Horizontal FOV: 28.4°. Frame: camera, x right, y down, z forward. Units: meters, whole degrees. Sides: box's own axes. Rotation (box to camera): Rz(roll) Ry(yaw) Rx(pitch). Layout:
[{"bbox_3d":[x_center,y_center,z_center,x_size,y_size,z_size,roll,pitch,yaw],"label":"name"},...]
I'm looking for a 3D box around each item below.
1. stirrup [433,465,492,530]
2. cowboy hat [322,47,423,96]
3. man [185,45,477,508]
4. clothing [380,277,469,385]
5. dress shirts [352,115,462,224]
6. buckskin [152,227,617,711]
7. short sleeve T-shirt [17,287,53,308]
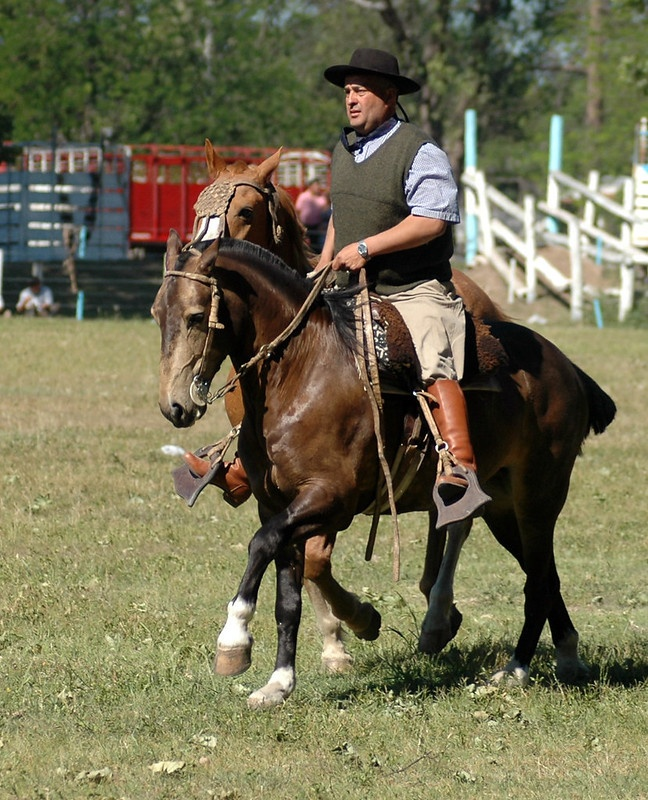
[{"bbox_3d":[0.583,0.414,5.616,0.287,0.312,0.083,-21,-40,22],"label":"stirrup"},{"bbox_3d":[0.249,-1.594,5.993,0.361,0.102,0.301,17,-15,-33],"label":"cowboy hat"},{"bbox_3d":[-0.020,-0.570,6.001,1.778,2.041,1.044,-5,11,-29],"label":"man"},{"bbox_3d":[0.504,-0.330,5.926,0.229,0.473,0.358,-14,-24,6],"label":"clothing"},{"bbox_3d":[0.372,-1.069,5.933,0.554,0.473,0.249,9,10,35],"label":"dress shirts"},{"bbox_3d":[0.338,0.348,6.313,3.054,2.068,0.754,0,5,-40],"label":"buckskin"},{"bbox_3d":[-2.005,-0.705,8.881,0.121,0.156,0.286,9,10,32],"label":"short sleeve T-shirt"}]
